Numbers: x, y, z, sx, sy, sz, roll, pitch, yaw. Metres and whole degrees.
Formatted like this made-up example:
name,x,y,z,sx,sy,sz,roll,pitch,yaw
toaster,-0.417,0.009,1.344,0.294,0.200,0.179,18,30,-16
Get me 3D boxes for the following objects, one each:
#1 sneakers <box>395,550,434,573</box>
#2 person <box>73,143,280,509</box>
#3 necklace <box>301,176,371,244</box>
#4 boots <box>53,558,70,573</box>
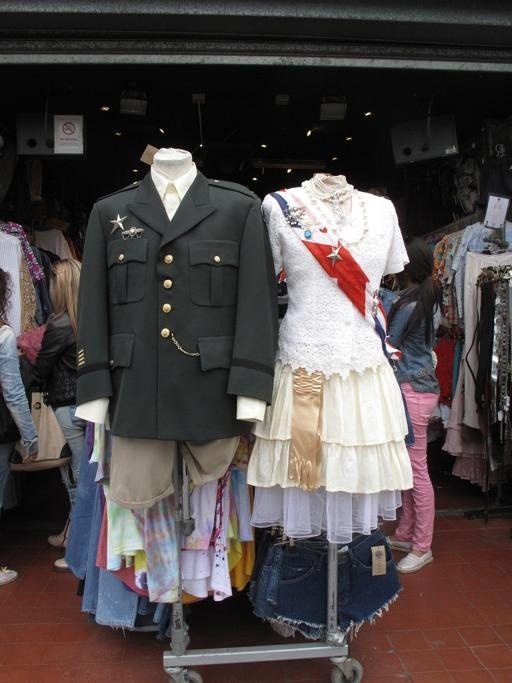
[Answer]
name,x,y,z,sx,sy,sz,roll,pitch,yaw
sneakers,0.764,1.067,2.746,0.188,0.056,0.070,5,-9,-44
person,-0.236,-0.156,1.653,0.593,0.847,0.316,-1,6,2
necklace,0.240,-0.416,1.839,0.208,0.236,0.056,-21,-2,-36
boots,-0.956,1.083,2.757,0.062,0.041,0.146,-4,7,-26
